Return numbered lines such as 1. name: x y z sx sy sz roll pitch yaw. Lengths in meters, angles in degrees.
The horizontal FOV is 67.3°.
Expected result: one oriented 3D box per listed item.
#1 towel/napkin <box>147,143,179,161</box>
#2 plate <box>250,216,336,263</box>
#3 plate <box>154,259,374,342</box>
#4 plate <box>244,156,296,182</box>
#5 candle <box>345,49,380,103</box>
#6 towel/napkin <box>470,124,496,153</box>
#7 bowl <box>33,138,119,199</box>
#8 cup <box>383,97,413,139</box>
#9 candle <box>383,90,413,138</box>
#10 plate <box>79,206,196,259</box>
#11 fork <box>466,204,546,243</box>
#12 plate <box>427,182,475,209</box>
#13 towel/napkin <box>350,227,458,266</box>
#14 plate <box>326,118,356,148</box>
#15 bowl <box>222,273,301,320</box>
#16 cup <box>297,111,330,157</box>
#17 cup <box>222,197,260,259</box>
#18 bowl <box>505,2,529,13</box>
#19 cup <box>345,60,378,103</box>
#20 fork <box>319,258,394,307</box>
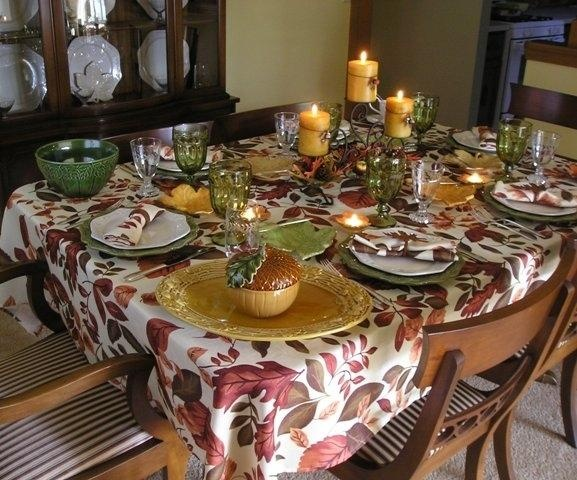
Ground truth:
1. towel/napkin: -0.421 -0.308 1.486 0.084 0.028 0.080 30 49 26
2. plate: 0.031 -0.006 1.030 0.119 0.026 0.118 19 29 33
3. plate: -0.029 0.117 0.774 0.200 0.019 0.201 -10 23 -36
4. plate: -0.058 -0.253 1.508 0.125 0.024 0.129 21 26 38
5. candle: 0.260 -0.568 1.502 0.115 0.156 0.099 -1 36 3
6. towel/napkin: 0.771 -0.396 1.719 0.095 0.035 0.134 4 34 4
7. bowl: -0.590 -0.220 1.330 0.249 0.127 0.243 2 30 -1
8. cup: 0.367 -0.409 1.452 0.105 0.108 0.102 0 27 0
9. candle: 0.368 -0.420 1.441 0.098 0.144 0.095 18 42 27
10. plate: -0.342 -0.005 0.972 0.155 0.018 0.142 4 29 -4
11. fork: 0.579 -0.047 1.205 0.229 0.031 0.053 35 42 25
12. plate: 0.509 -0.146 1.344 0.118 0.031 0.110 -22 37 -25
13. towel/napkin: 0.263 0.008 0.981 0.167 0.031 0.101 7 20 15
14. plate: 0.221 -0.450 1.782 0.140 0.057 0.185 12 47 13
15. bowl: -0.045 0.108 0.795 0.131 0.053 0.122 0 5 0
16. cup: 0.088 -0.314 1.295 0.113 0.116 0.109 2 28 -1
17. cup: -0.101 -0.025 0.947 0.080 0.107 0.071 2 16 4
18. bowl: 2.150 -2.193 4.076 0.256 0.081 0.069 -11 28 -27
19. cup: 0.264 -0.554 1.514 0.115 0.121 0.116 -1 31 0
20. fork: 0.140 0.088 0.873 0.129 0.015 0.015 38 60 17
